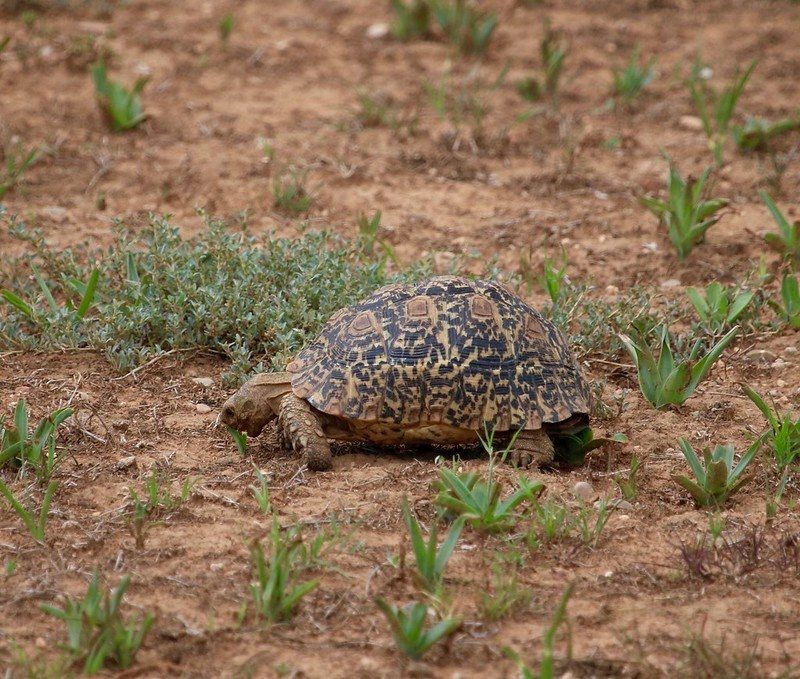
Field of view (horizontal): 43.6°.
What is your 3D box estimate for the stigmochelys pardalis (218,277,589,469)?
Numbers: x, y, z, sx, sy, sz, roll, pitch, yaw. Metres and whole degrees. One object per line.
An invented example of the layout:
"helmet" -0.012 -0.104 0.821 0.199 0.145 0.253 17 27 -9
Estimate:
"stigmochelys pardalis" 0.041 0.157 5.465 1.702 0.872 0.962 -1 3 -1
